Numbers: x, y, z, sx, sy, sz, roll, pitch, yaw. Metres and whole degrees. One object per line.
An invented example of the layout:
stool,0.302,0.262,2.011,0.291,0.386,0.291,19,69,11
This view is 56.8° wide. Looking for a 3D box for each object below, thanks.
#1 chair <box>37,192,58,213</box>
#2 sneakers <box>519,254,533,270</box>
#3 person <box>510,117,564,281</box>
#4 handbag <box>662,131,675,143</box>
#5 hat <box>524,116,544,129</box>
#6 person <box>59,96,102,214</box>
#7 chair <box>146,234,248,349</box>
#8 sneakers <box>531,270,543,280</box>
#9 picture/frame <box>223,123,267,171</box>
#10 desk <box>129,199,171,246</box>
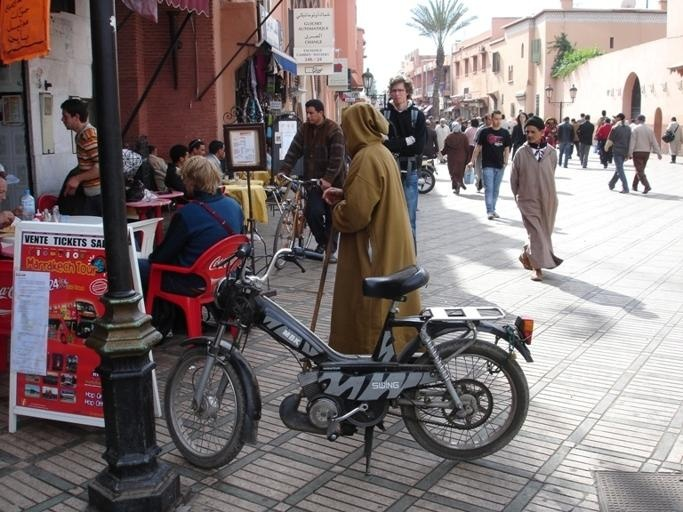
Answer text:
chair,-3.623,-0.660,7.812,0.229,0.178,0.517,-4,14,-16
sneakers,2.567,0.107,8.767,0.156,0.233,0.161,-8,13,34
person,2.645,-0.777,8.508,0.502,2.123,0.670,-8,14,-32
handbag,13.451,-4.882,25.907,0.341,0.748,0.513,5,0,13
hat,2.591,-1.783,8.417,0.226,0.197,0.175,-14,22,-36
person,-2.977,-1.114,7.205,0.353,1.305,0.530,-7,14,-26
chair,-1.201,0.265,5.224,0.726,1.040,0.713,17,18,30
sneakers,2.622,0.260,8.473,0.085,0.181,0.178,0,13,-3
picture/frame,-1.246,-1.402,8.188,0.530,0.676,0.031,-3,-15,-11
desk,-2.671,-0.432,8.870,0.400,0.459,0.423,-20,7,24
